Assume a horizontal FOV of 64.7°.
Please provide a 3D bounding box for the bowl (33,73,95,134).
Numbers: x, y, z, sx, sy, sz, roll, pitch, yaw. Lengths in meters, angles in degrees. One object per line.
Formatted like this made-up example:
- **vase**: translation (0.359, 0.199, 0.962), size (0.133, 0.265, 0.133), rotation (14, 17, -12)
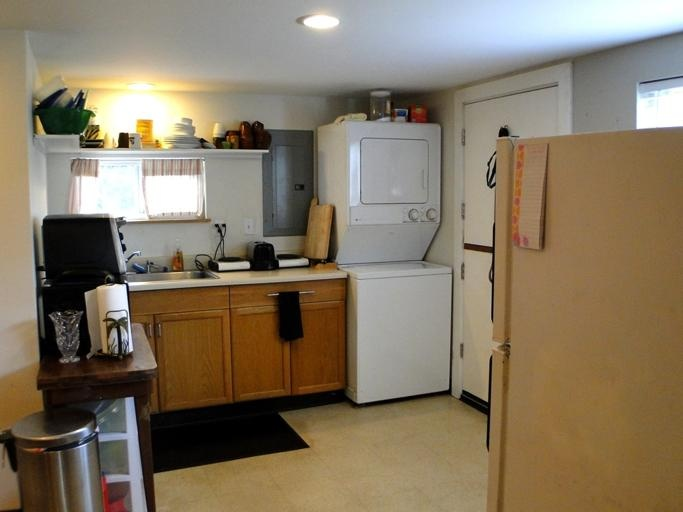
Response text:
- **bowl**: translation (-1.628, -0.866, 3.154), size (0.307, 0.328, 0.214), rotation (-9, 11, -29)

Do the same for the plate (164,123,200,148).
- **plate**: translation (-1.216, -0.902, 4.132), size (0.194, 0.090, 0.204), rotation (1, 8, -1)

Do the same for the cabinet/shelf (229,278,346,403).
- **cabinet/shelf**: translation (-0.413, 0.546, 4.464), size (1.099, 1.163, 0.756), rotation (-1, 2, -23)

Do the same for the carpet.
- **carpet**: translation (-0.669, 1.207, 3.752), size (1.251, 0.180, 0.667), rotation (-7, 11, -17)

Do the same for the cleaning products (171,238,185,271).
- **cleaning products**: translation (-1.313, -0.003, 4.314), size (0.100, 0.243, 0.121), rotation (-6, 10, -15)

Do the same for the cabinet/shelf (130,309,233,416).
- **cabinet/shelf**: translation (-1.131, 0.684, 4.105), size (0.861, 0.909, 0.591), rotation (-1, 1, -26)

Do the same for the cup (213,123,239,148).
- **cup**: translation (-0.929, -0.965, 4.343), size (0.236, 0.250, 0.152), rotation (-1, 5, -13)

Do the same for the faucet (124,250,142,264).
- **faucet**: translation (-1.629, 0.001, 4.230), size (0.181, 0.072, 0.054), rotation (-4, -1, 34)

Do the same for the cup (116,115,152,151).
- **cup**: translation (-1.531, -0.913, 4.078), size (0.283, 0.231, 0.299), rotation (10, 13, -2)
